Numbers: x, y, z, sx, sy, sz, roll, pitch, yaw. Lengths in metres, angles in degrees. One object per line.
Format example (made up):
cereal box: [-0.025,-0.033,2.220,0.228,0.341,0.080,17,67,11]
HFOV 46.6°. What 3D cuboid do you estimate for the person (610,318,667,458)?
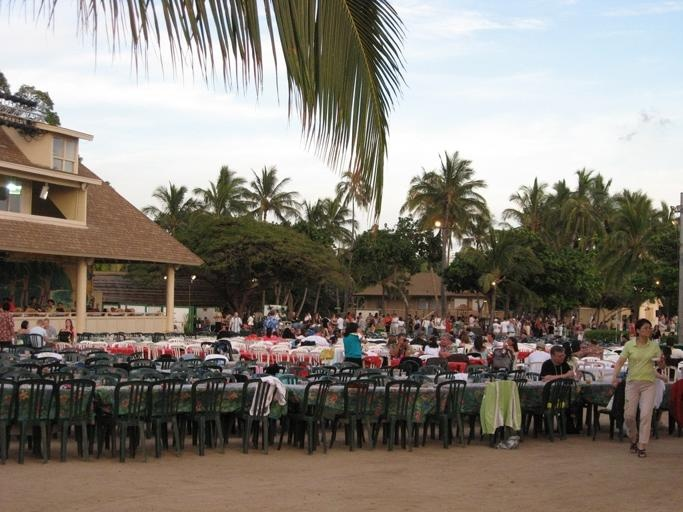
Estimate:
person: [4.342,1.904,11.646,0.638,1.997,0.829,-3,-8,20]

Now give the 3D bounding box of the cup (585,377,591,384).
cup: [4.438,2.226,14.272,0.089,0.091,0.090,1,3,0]
